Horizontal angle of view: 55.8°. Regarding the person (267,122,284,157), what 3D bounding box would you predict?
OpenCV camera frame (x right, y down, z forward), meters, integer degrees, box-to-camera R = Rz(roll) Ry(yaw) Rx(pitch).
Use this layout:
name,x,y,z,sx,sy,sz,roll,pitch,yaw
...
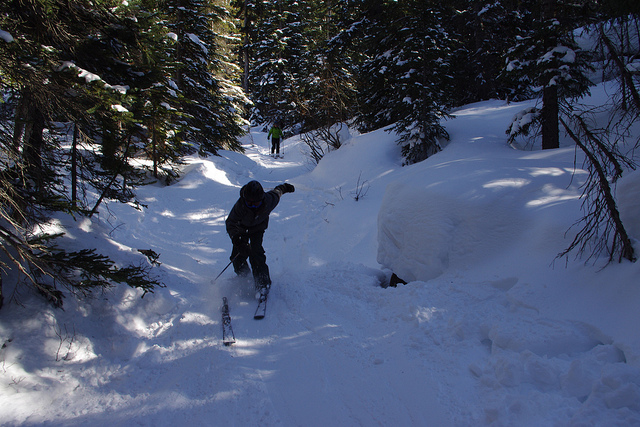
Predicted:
name,x,y,z,sx,sy,sz,roll,pitch,yaw
person,-2.077,-3.399,28.150,0.628,1.522,2.307,-8,15,-2

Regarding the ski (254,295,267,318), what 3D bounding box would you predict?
name,x,y,z,sx,sy,sz,roll,pitch,yaw
ski,-1.219,1.923,12.371,0.172,0.057,0.660,-1,20,11

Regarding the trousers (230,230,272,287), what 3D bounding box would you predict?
name,x,y,z,sx,sy,sz,roll,pitch,yaw
trousers,-1.552,0.929,13.267,0.764,0.629,1.792,-5,29,2
